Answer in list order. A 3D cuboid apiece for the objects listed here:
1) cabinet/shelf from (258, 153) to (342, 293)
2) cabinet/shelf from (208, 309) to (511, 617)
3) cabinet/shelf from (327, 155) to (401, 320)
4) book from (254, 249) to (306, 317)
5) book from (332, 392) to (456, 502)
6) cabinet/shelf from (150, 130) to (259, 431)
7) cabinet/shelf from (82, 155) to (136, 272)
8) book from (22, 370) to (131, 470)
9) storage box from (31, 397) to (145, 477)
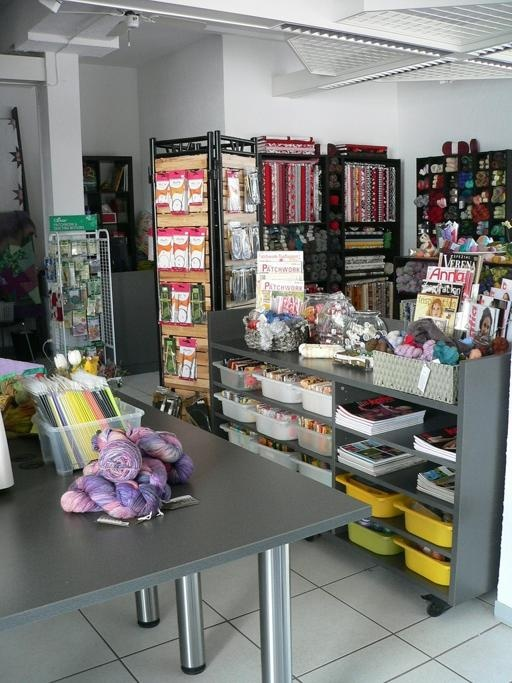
[{"bbox_3d":[0.601,-1.468,7.363,0.991,1.712,0.290,1,25,16],"label":"cabinet/shelf"},{"bbox_3d":[0.479,0.506,2.256,0.308,0.675,1.263,-1,11,-36],"label":"cabinet/shelf"},{"bbox_3d":[1.701,-1.282,7.948,0.380,2.519,1.013,-20,23,-40],"label":"cabinet/shelf"},{"bbox_3d":[0.138,-0.350,3.273,0.314,0.376,0.177,3,5,14],"label":"book"},{"bbox_3d":[0.621,0.453,2.457,0.354,0.152,0.461,-5,10,-35],"label":"book"},{"bbox_3d":[-0.422,-0.662,4.714,0.673,2.085,0.622,14,22,30],"label":"cabinet/shelf"},{"bbox_3d":[-2.339,-2.097,8.988,0.823,1.801,0.501,0,5,-14],"label":"cabinet/shelf"},{"bbox_3d":[-0.498,0.184,1.501,0.217,0.092,0.272,-8,21,-31],"label":"book"},{"bbox_3d":[-0.445,0.246,1.516,0.239,0.123,0.169,-8,10,-41],"label":"storage box"}]
